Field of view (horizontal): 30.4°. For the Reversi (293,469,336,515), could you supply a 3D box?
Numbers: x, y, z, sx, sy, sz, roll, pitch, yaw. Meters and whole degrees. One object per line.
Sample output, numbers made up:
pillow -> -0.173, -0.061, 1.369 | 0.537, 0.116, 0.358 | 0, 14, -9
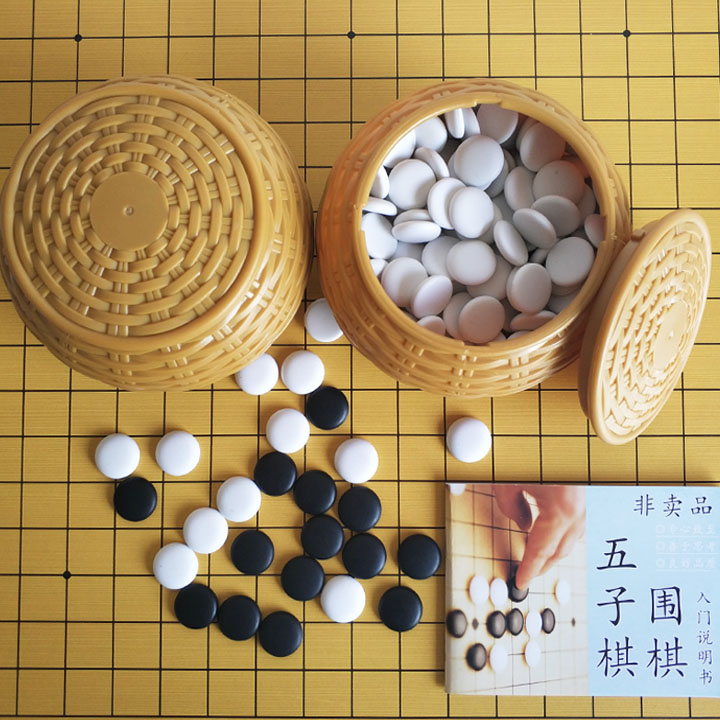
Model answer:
Reversi -> -0.085, 0.250, 2.522 | 0.080, 0.037, 0.085 | -1, 78, -3

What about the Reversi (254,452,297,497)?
Reversi -> -0.160, 0.213, 2.513 | 0.087, 0.026, 0.075 | 1, 89, 2

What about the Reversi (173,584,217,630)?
Reversi -> -0.310, 0.464, 2.509 | 0.076, 0.018, 0.079 | -3, 78, -4

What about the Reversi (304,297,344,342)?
Reversi -> -0.068, -0.079, 2.539 | 0.083, 0.019, 0.077 | -29, 92, 12

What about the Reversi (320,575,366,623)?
Reversi -> -0.029, 0.445, 2.498 | 0.093, 0.034, 0.080 | 1, 91, -3

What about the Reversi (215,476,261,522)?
Reversi -> -0.228, 0.260, 2.503 | 0.091, 0.036, 0.078 | 1, 88, -5

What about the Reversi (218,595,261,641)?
Reversi -> -0.226, 0.484, 2.502 | 0.091, 0.028, 0.078 | 2, 87, 2

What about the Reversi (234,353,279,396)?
Reversi -> -0.188, 0.024, 2.501 | 0.085, 0.034, 0.073 | 2, 95, -11

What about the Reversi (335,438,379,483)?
Reversi -> -0.004, 0.188, 2.504 | 0.090, 0.033, 0.077 | 2, 89, -4

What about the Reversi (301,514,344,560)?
Reversi -> -0.070, 0.334, 2.517 | 0.077, 0.033, 0.082 | 0, 78, -3

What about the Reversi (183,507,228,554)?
Reversi -> -0.291, 0.319, 2.503 | 0.091, 0.033, 0.078 | 2, 88, -6

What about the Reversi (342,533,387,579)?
Reversi -> 0.007, 0.369, 2.508 | 0.104, 0.023, 0.089 | 3, 90, 3

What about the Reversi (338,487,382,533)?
Reversi -> 0.001, 0.283, 2.511 | 0.099, 0.030, 0.085 | 1, 88, -1

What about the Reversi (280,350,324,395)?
Reversi -> -0.105, 0.021, 2.507 | 0.087, 0.032, 0.075 | 2, 91, -7

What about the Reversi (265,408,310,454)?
Reversi -> -0.135, 0.133, 2.507 | 0.088, 0.033, 0.076 | 3, 89, -5

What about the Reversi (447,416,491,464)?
Reversi -> 0.208, 0.149, 2.508 | 0.092, 0.039, 0.079 | 4, 89, -1

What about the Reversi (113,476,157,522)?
Reversi -> -0.424, 0.261, 2.518 | 0.091, 0.022, 0.078 | 3, 90, -3

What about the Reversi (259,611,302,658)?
Reversi -> -0.150, 0.517, 2.506 | 0.101, 0.022, 0.086 | 3, 87, -1

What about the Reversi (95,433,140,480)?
Reversi -> -0.457, 0.180, 2.513 | 0.091, 0.033, 0.078 | 1, 89, -9

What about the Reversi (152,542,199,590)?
Reversi -> -0.347, 0.385, 2.502 | 0.092, 0.033, 0.079 | 3, 89, -4

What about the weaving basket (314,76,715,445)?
weaving basket -> 0.264, -0.226, 2.445 | 0.658, 0.663, 0.567 | 0, 103, 1

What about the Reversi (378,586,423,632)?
Reversi -> 0.077, 0.466, 2.507 | 0.077, 0.020, 0.084 | 0, 78, -3

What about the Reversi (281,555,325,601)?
Reversi -> -0.105, 0.409, 2.501 | 0.087, 0.026, 0.075 | 3, 88, 1

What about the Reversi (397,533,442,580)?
Reversi -> 0.113, 0.372, 2.509 | 0.099, 0.022, 0.085 | 0, 88, 3

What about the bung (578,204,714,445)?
bung -> 0.483, -0.057, 2.173 | 0.086, 0.343, 0.351 | 21, 58, 32

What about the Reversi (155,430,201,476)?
Reversi -> -0.342, 0.175, 2.509 | 0.091, 0.033, 0.078 | 3, 90, -10
